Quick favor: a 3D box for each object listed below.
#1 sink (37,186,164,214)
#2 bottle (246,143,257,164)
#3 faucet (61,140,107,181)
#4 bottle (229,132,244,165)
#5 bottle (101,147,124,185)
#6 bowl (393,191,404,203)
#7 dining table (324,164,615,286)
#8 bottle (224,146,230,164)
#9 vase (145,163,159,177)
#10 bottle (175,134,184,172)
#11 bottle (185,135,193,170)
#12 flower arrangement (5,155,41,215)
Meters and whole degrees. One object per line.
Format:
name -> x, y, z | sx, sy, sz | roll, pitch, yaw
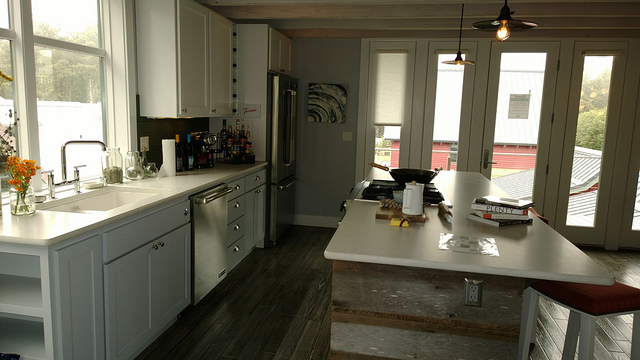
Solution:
sink -> -2.100, 0.203, 4.095 | 0.387, 0.215, 0.572 | 5, 10, 14
bottle -> -0.971, -0.387, 5.811 | 0.146, 0.281, 0.299 | -2, 11, -8
faucet -> -2.355, -0.208, 4.084 | 0.287, 0.393, 0.404 | 5, 12, 23
bottle -> -1.152, -0.443, 5.688 | 0.180, 0.424, 0.259 | 1, 12, 4
bottle -> -2.233, -0.165, 4.418 | 0.208, 0.382, 0.377 | -6, 13, -25
bowl -> 0.744, 0.149, 3.885 | 0.116, 0.072, 0.097 | 1, 6, 9
dining table -> 1.222, 0.366, 3.964 | 2.097, 0.458, 1.948 | 1, 10, 7
bottle -> -1.300, -0.357, 5.703 | 0.059, 0.239, 0.202 | -6, 13, -24
vase -> -1.907, -0.113, 4.637 | 0.125, 0.146, 0.082 | -3, 12, -12
bottle -> -1.696, -0.322, 4.947 | 0.092, 0.449, 0.263 | -3, 13, -13
bottle -> -1.631, -0.305, 5.113 | 0.092, 0.344, 0.089 | 0, 13, 0
flower arrangement -> -2.533, 0.041, 3.518 | 0.249, 0.495, 0.193 | -8, 15, -32
